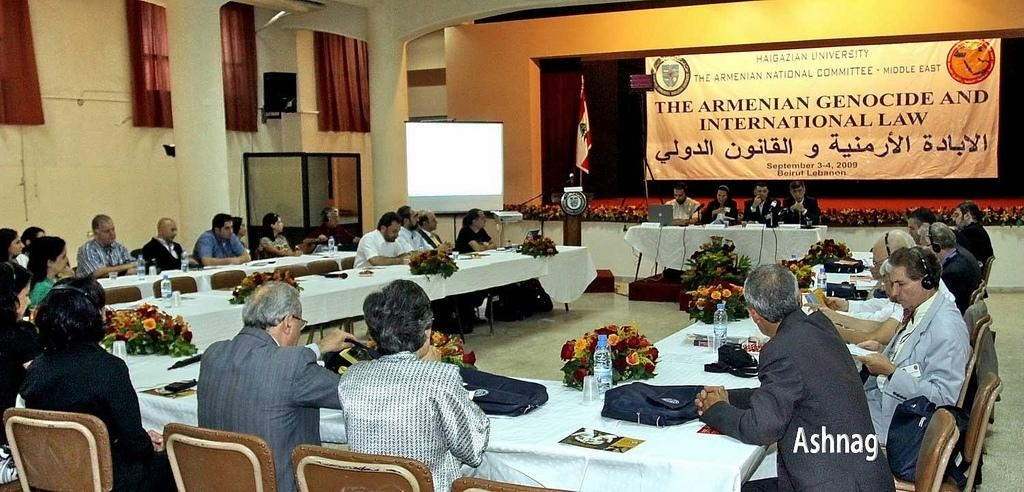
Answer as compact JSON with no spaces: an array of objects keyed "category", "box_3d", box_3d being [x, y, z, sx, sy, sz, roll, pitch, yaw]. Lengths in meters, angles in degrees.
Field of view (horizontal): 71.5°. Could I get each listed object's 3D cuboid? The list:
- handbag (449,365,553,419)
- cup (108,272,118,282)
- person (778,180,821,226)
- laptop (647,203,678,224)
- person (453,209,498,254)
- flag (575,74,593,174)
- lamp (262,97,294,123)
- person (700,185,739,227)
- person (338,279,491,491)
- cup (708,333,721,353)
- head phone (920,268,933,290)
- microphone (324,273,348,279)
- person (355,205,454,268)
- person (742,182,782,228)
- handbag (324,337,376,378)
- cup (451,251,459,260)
[{"category":"handbag","box_3d":[-0.143,1.365,6.638,0.690,0.137,0.481,8,13,29]},{"category":"cup","box_3d":[-5.674,0.431,10.077,0.153,0.121,0.147,1,-6,0]},{"category":"person","box_3d":[5.411,-0.816,13.261,0.724,0.816,0.668,-9,8,-42]},{"category":"laptop","box_3d":[2.945,-0.588,13.876,0.587,0.345,0.401,2,2,32]},{"category":"person","box_3d":[-0.693,-0.263,12.731,0.741,0.739,0.706,6,6,36]},{"category":"flag","box_3d":[1.534,-2.745,15.657,0.316,2.161,1.183,-4,6,6]},{"category":"lamp","box_3d":[-5.295,-3.082,15.986,0.524,0.227,0.720,0,2,42]},{"category":"person","box_3d":[4.095,-0.798,13.781,0.746,0.742,0.885,-4,5,-3]},{"category":"person","box_3d":[-0.859,1.196,6.030,1.193,1.788,0.475,-5,7,-14]},{"category":"cup","box_3d":[2.146,1.025,7.459,0.168,0.204,0.189,0,-2,31]},{"category":"head phone","box_3d":[4.060,0.338,6.927,0.057,0.135,0.112,-14,-11,9]},{"category":"microphone","box_3d":[-2.577,0.427,10.334,0.414,0.102,0.104,0,48,38]},{"category":"person","box_3d":[-1.805,-0.126,11.543,1.409,0.749,0.956,-2,4,14]},{"category":"person","box_3d":[4.770,-0.720,13.467,0.778,0.852,0.415,1,-13,20]},{"category":"handbag","box_3d":[-1.568,1.036,6.817,0.439,0.167,0.412,6,10,32]},{"category":"cup","box_3d":[-0.929,0.158,11.542,0.144,0.132,0.140,-1,0,0]}]
